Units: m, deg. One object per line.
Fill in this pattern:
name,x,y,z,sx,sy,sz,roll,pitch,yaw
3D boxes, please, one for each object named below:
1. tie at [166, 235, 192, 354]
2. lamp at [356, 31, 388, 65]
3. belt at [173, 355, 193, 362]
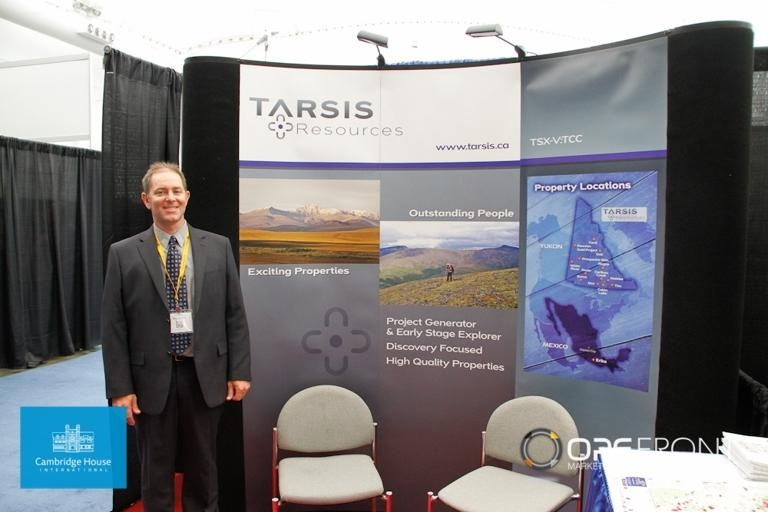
tie,-1.295,0.152,3.300,0.127,0.622,0.046,4,35,-21
lamp,-0.068,-1.441,3.741,0.184,0.193,0.117,1,8,5
belt,-1.277,0.642,3.305,0.089,0.030,0.062,0,-1,-6
